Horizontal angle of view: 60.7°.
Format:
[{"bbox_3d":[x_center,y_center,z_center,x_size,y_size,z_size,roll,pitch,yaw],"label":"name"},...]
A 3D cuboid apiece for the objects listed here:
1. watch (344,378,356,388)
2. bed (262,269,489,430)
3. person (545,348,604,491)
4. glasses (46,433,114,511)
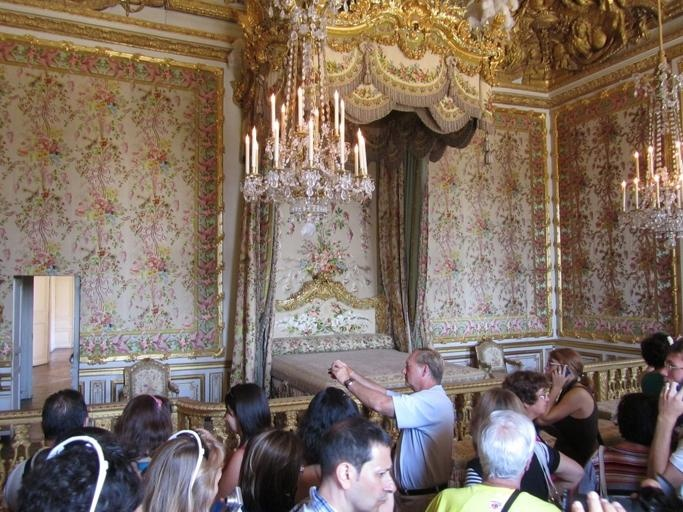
[{"bbox_3d":[0.043,0.776,3.581,0.034,0.057,0.027,5,-23,-2],"label":"watch"},{"bbox_3d":[0.067,0.899,6.299,1.229,1.293,1.771,-1,-1,-24],"label":"bed"},{"bbox_3d":[1.468,1.089,3.906,0.429,0.970,0.319,-1,11,18],"label":"person"},{"bbox_3d":[-0.936,0.792,2.184,0.192,0.280,0.063,6,-13,-10],"label":"glasses"}]
